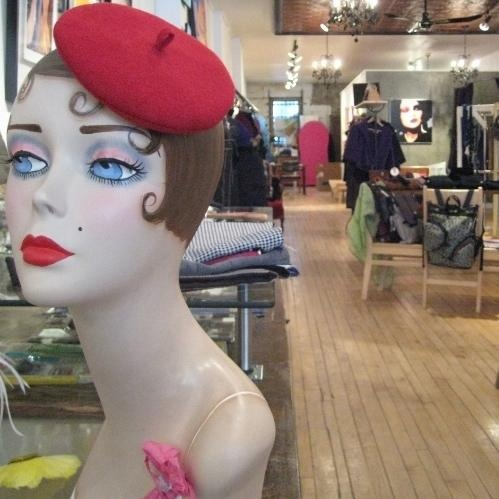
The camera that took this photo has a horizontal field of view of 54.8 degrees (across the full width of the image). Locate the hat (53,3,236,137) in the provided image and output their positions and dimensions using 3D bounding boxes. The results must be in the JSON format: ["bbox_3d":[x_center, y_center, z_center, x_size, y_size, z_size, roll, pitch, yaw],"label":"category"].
[{"bbox_3d":[-0.106,-0.185,0.490,0.144,0.063,0.135,37,45,8],"label":"hat"}]
